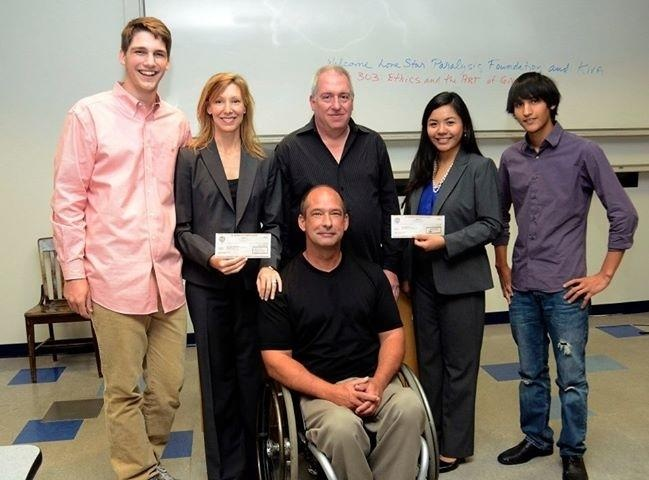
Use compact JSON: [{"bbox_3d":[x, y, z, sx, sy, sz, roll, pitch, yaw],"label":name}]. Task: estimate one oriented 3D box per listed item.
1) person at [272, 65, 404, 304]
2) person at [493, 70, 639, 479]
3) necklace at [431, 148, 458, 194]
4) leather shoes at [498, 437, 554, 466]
[{"bbox_3d":[0.069,-0.033,3.235,0.768,2.017,0.477,-2,7,-7],"label":"person"},{"bbox_3d":[1.365,0.200,3.092,0.769,2.327,0.580,6,15,29],"label":"person"},{"bbox_3d":[0.713,-0.417,3.163,0.143,0.214,0.076,2,-4,13],"label":"necklace"},{"bbox_3d":[1.220,1.322,3.291,0.375,0.162,0.136,-6,0,-6],"label":"leather shoes"}]
